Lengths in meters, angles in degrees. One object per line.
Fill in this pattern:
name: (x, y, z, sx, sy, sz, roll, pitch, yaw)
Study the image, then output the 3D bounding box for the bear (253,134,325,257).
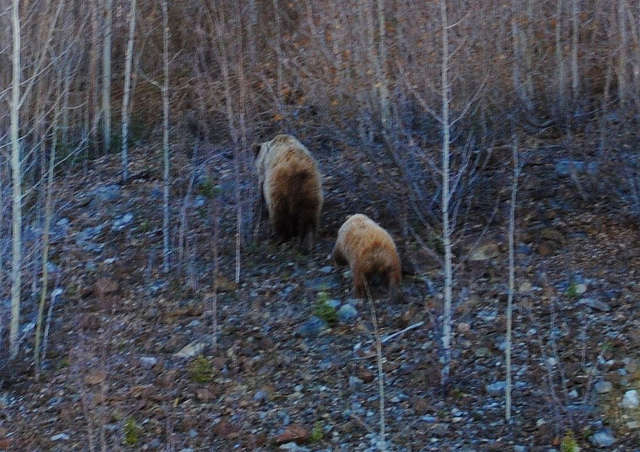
bear: (-0.489, -0.487, 16.693, 1.122, 1.659, 0.657, 10, 24, 38)
